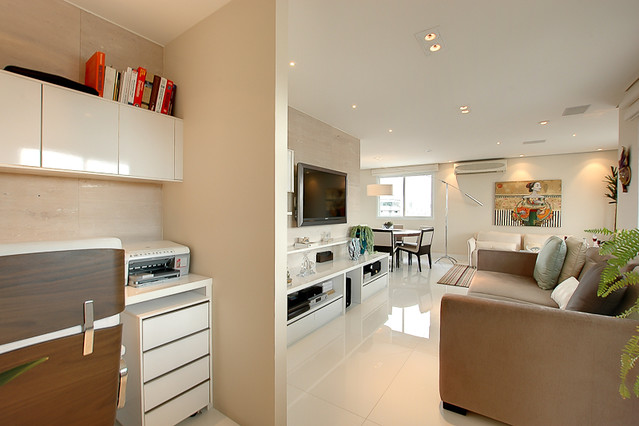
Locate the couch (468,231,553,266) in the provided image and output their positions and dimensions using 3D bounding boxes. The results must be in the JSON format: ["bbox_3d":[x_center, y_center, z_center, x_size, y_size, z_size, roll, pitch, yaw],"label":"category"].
[{"bbox_3d":[4.022,0.797,8.135,1.874,0.733,0.583,0,3,38],"label":"couch"}]

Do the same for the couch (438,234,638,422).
[{"bbox_3d":[1.945,0.401,3.625,1.328,1.213,3.137,0,0,29],"label":"couch"}]

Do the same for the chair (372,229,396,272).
[{"bbox_3d":[1.246,0.738,7.679,0.390,0.819,0.333,-1,11,10],"label":"chair"}]

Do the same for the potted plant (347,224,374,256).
[{"bbox_3d":[0.658,0.379,6.261,0.338,0.359,0.301,0,-2,9],"label":"potted plant"}]

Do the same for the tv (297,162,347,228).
[{"bbox_3d":[0.015,-0.243,5.538,0.099,0.659,0.994,2,2,29],"label":"tv"}]

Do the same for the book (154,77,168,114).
[{"bbox_3d":[-1.410,-1.045,3.553,0.031,0.298,0.143,5,14,37],"label":"book"}]

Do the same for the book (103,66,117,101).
[{"bbox_3d":[-1.747,-1.083,3.338,0.130,0.265,0.031,-13,14,-41],"label":"book"}]

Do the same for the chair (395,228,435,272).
[{"bbox_3d":[1.852,0.742,7.981,0.601,0.742,0.547,-1,-5,33],"label":"chair"}]

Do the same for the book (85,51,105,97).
[{"bbox_3d":[-1.883,-1.153,3.366,0.257,0.353,0.140,6,14,41],"label":"book"}]
